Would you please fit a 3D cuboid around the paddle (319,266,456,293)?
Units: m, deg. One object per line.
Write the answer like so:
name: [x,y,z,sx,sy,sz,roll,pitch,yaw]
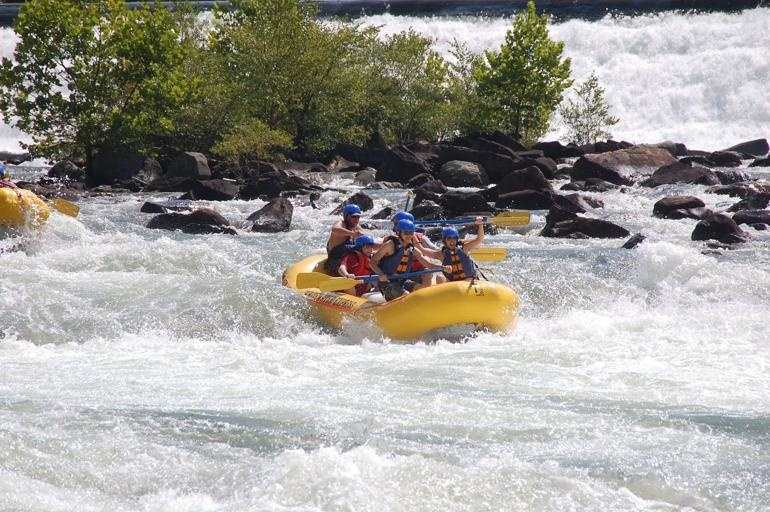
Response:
paddle: [0.172,0.672,28.938,4.364,0.402,0.422,-5,4,-17]
